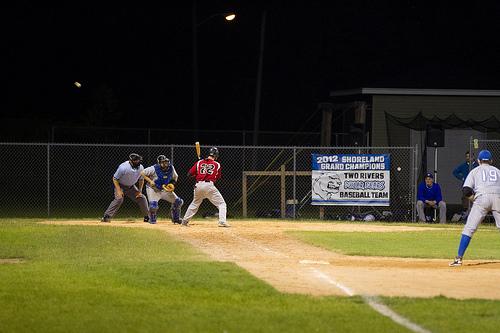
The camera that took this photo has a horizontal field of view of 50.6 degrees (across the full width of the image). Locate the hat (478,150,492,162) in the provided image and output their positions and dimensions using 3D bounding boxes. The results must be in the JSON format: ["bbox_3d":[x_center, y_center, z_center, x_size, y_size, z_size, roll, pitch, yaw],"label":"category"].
[{"bbox_3d":[5.489,-0.252,12.372,0.216,0.179,0.315,4,18,14],"label":"hat"}]

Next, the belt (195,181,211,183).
[{"bbox_3d":[-1.429,0.494,16.514,0.455,0.069,0.109,1,3,-9],"label":"belt"}]

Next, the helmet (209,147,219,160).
[{"bbox_3d":[-1.141,-0.417,16.716,0.307,0.383,0.393,2,-1,-3],"label":"helmet"}]

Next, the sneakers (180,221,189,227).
[{"bbox_3d":[-2.060,1.820,16.778,0.332,0.202,0.111,5,2,3],"label":"sneakers"}]

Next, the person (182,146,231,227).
[{"bbox_3d":[-1.351,0.655,16.947,1.457,2.541,1.028,1,3,-3],"label":"person"}]

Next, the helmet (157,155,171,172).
[{"bbox_3d":[-2.818,-0.096,16.902,0.400,0.442,0.456,-20,6,-23],"label":"helmet"}]

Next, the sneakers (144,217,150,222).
[{"bbox_3d":[-3.397,1.747,17.456,0.156,0.152,0.161,1,-6,0],"label":"sneakers"}]

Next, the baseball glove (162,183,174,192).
[{"bbox_3d":[-2.583,0.695,16.913,0.391,0.305,0.240,-1,3,-27],"label":"baseball glove"}]

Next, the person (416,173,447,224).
[{"bbox_3d":[6.547,1.150,19.095,0.995,1.759,0.584,2,3,16],"label":"person"}]

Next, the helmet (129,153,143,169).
[{"bbox_3d":[-3.599,-0.172,16.727,0.384,0.408,0.437,1,-2,-34],"label":"helmet"}]

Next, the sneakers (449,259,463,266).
[{"bbox_3d":[4.527,2.102,11.642,0.254,0.169,0.235,2,3,18],"label":"sneakers"}]
